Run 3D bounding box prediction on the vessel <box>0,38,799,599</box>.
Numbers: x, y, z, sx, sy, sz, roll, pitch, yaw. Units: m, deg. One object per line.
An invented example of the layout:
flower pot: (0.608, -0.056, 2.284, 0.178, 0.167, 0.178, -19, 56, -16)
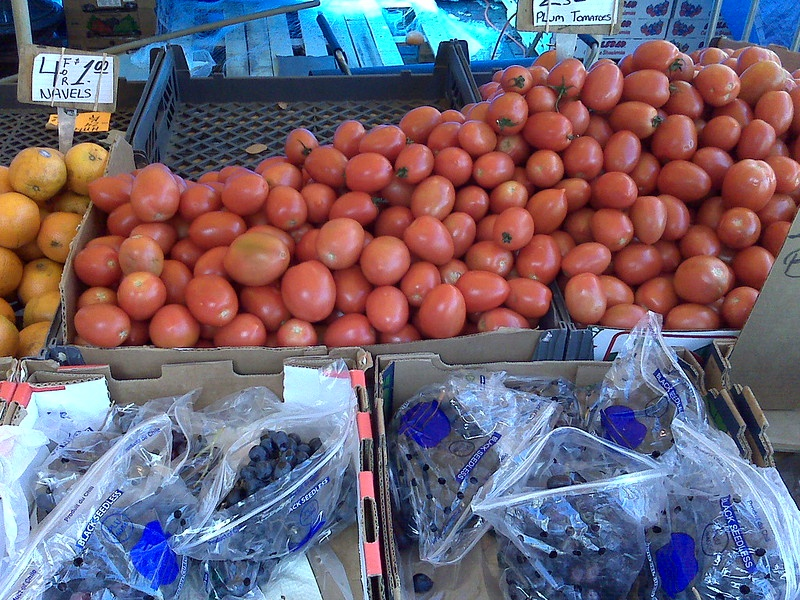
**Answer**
vessel: (-0.249, -0.097, 2.319, 3.013, 0.743, 1.555, 21, 44, 21)
